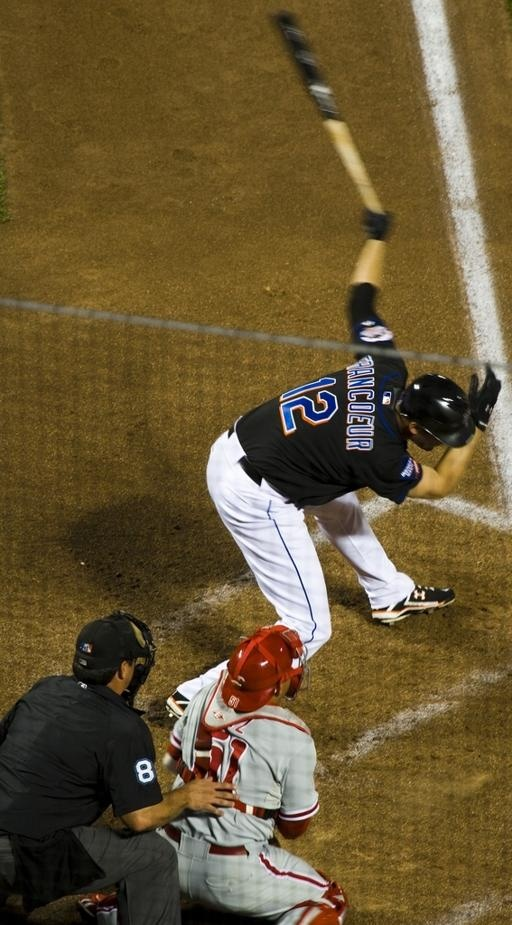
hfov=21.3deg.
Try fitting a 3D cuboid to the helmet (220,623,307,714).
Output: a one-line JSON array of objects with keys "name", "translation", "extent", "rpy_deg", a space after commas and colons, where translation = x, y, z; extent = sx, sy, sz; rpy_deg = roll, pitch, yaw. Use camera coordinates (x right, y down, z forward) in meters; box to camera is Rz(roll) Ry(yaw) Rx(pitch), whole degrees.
[{"name": "helmet", "translation": [0.017, 0.949, 6.401], "extent": [0.329, 0.276, 0.447], "rpy_deg": [21, 49, 32]}]

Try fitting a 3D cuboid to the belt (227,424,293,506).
[{"name": "belt", "translation": [-0.030, 0.026, 6.860], "extent": [0.400, 0.355, 0.100], "rpy_deg": [43, 92, -16]}]
